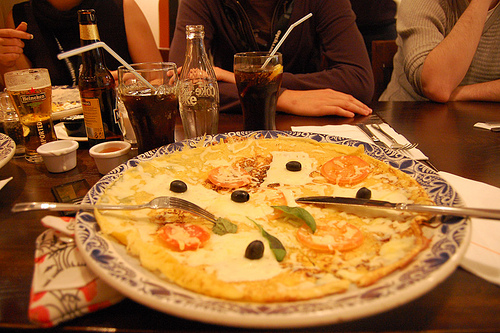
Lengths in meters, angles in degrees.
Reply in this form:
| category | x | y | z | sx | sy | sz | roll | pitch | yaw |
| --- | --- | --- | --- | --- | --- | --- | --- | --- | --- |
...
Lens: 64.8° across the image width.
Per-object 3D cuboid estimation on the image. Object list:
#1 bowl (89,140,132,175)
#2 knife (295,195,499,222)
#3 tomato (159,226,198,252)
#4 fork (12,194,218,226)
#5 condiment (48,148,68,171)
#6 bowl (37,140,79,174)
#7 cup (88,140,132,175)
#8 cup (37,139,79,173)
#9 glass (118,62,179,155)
| category | x | y | z | sx | sy | sz | roll | pitch | yaw |
| --- | --- | --- | --- | --- | --- | --- | --- | --- | --- |
| bowl | -0.597 | -0.064 | 1.699 | 0.166 | 0.091 | 0.155 | -1 | 24 | 0 |
| knife | 0.454 | 0.139 | 1.292 | 0.471 | 0.021 | 0.060 | 5 | 23 | 12 |
| tomato | -0.210 | 0.222 | 1.270 | 0.141 | 0.054 | 0.081 | 10 | 16 | 31 |
| fork | -0.426 | 0.150 | 1.324 | 0.639 | 0.067 | 0.072 | 3 | 29 | -15 |
| condiment | -0.821 | -0.035 | 1.729 | 0.098 | 0.071 | 0.085 | 6 | 19 | 13 |
| bowl | -0.855 | -0.053 | 1.803 | 0.175 | 0.097 | 0.164 | 1 | 21 | 0 |
| cup | -0.596 | -0.051 | 1.693 | 0.182 | 0.100 | 0.170 | 0 | 26 | 0 |
| cup | -0.846 | -0.049 | 1.799 | 0.161 | 0.092 | 0.159 | 2 | 24 | -1 |
| glass | -0.431 | -0.255 | 1.801 | 0.279 | 0.404 | 0.281 | -10 | 18 | -20 |
